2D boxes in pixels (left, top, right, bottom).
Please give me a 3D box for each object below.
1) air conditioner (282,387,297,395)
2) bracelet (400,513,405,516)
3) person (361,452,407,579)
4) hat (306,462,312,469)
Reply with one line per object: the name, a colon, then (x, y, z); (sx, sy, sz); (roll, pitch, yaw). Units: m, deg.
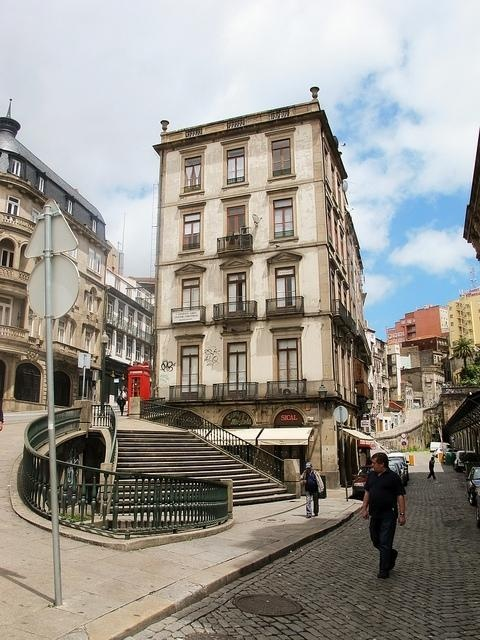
air conditioner: (2.909, 4.192, 29.246); (0.879, 0.549, 0.251); (6, -12, 5)
bracelet: (2.319, 2.782, 7.122); (0.065, 0.044, 0.077); (-3, -8, 9)
person: (2.121, 2.899, 7.426); (0.587, 1.749, 0.884); (4, -13, 16)
hat: (2.281, 4.829, 16.632); (0.225, 0.133, 0.301); (-1, -12, 6)
